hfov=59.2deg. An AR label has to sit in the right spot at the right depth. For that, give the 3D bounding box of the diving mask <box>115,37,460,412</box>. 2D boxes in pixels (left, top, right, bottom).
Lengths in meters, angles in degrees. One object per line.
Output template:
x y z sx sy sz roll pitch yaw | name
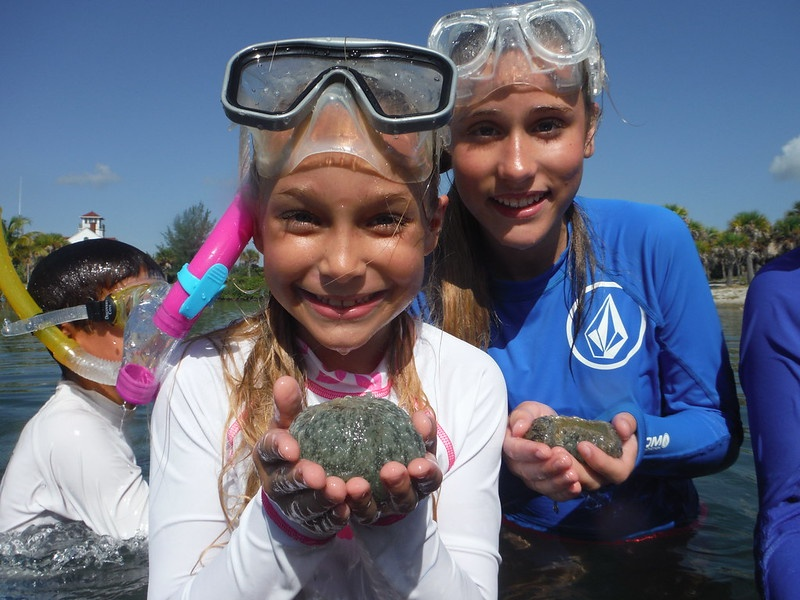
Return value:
-0.632 -0.520 4.039 1.391 1.597 1.402 0 7 -13 | diving mask

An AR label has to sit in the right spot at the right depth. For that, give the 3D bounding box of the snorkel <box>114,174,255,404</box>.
-1.058 0.066 3.937 0.525 1.893 0.889 -10 17 -42 | snorkel

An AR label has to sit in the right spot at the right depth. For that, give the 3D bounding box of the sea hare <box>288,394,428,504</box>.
-0.201 0.705 3.302 0.649 0.419 0.359 -1 6 2 | sea hare

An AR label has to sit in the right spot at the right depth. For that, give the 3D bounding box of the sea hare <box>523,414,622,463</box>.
1.118 0.876 4.509 0.559 0.229 0.450 -1 10 -2 | sea hare
